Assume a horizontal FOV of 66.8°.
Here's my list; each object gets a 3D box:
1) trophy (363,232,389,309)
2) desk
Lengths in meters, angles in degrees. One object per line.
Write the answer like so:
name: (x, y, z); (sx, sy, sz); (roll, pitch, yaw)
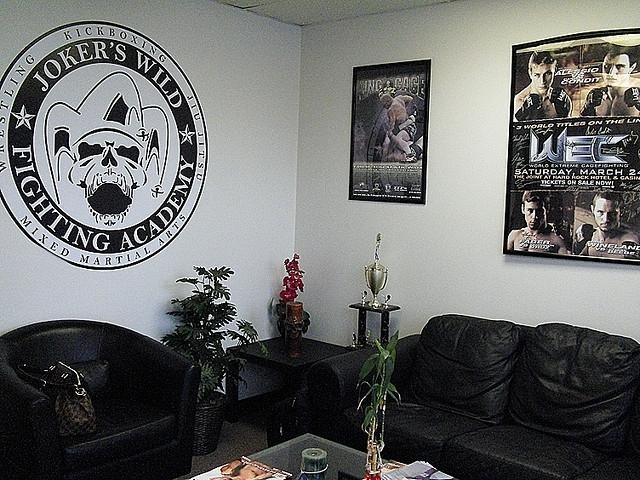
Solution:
trophy: (0.441, 0.233, 3.800); (0.173, 0.547, 0.178); (4, -4, 0)
desk: (-0.275, 1.224, 4.047); (0.929, 0.753, 0.787); (2, 1, 41)
